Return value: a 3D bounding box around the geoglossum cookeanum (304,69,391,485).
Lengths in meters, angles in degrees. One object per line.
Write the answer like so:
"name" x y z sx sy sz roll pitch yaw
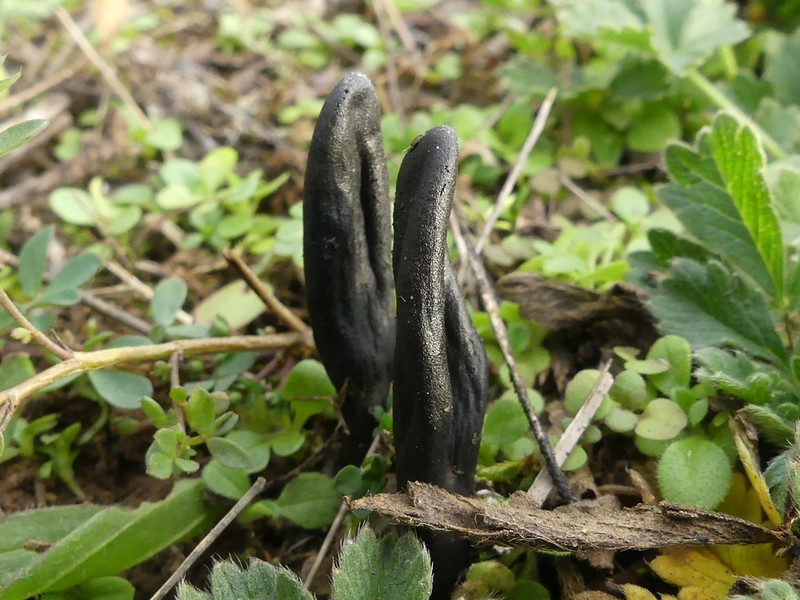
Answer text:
"geoglossum cookeanum" -0.120 -0.049 2.172 0.184 1.015 0.298 3 5 38
